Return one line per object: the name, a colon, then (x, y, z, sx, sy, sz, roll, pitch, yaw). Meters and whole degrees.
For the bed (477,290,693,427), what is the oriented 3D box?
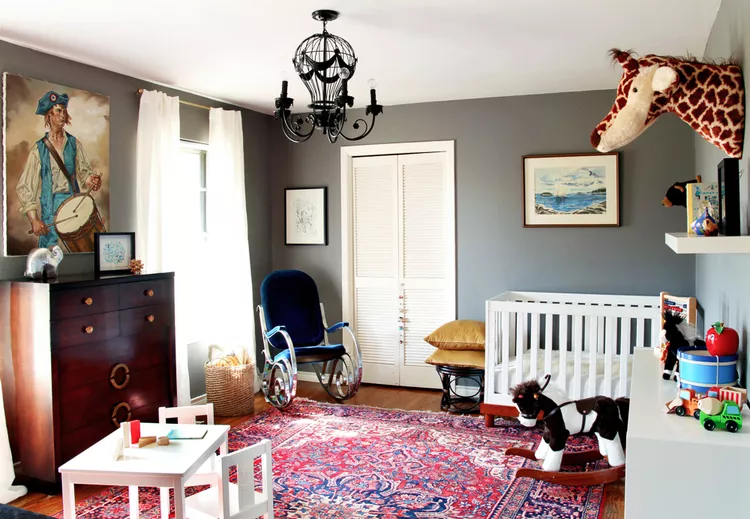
bed: (1.595, 1.007, 4.999, 1.914, 1.159, 1.117, -11, -15, 30)

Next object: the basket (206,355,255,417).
basket: (-1.413, 1.266, 5.340, 0.453, 0.437, 0.484, 3, -7, -28)

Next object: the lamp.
lamp: (-0.350, -1.218, 3.665, 0.703, 0.804, 0.709, 8, 13, 27)

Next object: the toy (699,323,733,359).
toy: (1.667, 0.397, 2.669, 0.138, 0.163, 0.139, 4, 23, 44)

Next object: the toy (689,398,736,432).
toy: (1.483, 0.674, 2.409, 0.158, 0.118, 0.108, 0, 4, 31)

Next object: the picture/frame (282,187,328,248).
picture/frame: (-0.755, -0.474, 6.166, 0.667, 0.869, 0.055, 0, 2, 24)

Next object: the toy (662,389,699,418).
toy: (1.399, 0.669, 2.532, 0.151, 0.097, 0.097, 4, -5, -21)

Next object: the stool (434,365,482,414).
stool: (0.832, 1.203, 5.342, 0.450, 0.381, 0.460, -1, 0, 28)

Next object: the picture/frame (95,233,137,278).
picture/frame: (-2.110, -0.020, 4.461, 0.025, 0.362, 0.361, -1, 0, 38)

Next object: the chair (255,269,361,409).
chair: (-0.677, 0.793, 5.359, 0.828, 1.238, 1.079, -1, 3, -44)

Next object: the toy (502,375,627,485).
toy: (1.176, 1.194, 4.118, 1.117, 0.802, 0.464, -1, 0, 7)

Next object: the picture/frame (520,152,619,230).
picture/frame: (1.898, -0.655, 5.240, 0.747, 0.579, 0.062, 1, 5, 20)
